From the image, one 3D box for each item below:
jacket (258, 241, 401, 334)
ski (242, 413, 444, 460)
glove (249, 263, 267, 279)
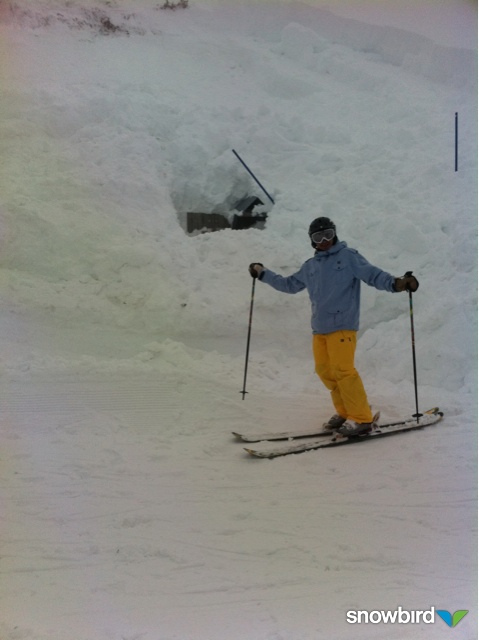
[{"bbox_3d":[1.027,-0.314,8.517,1.510,0.764,0.361,-7,-16,34],"label":"jacket"},{"bbox_3d":[0.926,0.988,6.579,1.957,0.123,0.195,-5,14,-8],"label":"ski"},{"bbox_3d":[0.176,-0.471,7.247,0.176,0.133,0.118,21,-10,1],"label":"glove"}]
